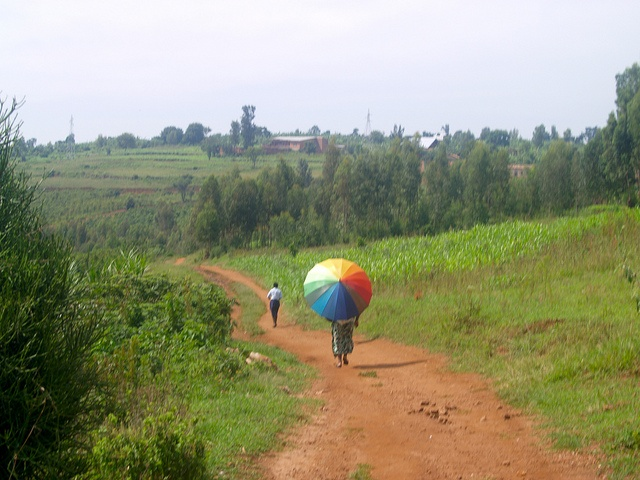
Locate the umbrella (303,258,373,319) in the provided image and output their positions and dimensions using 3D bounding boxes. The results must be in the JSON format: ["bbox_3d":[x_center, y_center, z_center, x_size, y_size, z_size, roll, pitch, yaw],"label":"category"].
[{"bbox_3d":[0.460,1.329,20.631,1.690,1.359,1.106,-11,9,-2],"label":"umbrella"}]

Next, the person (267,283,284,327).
[{"bbox_3d":[-1.653,2.175,27.464,0.451,1.653,0.465,-3,18,-17],"label":"person"}]
